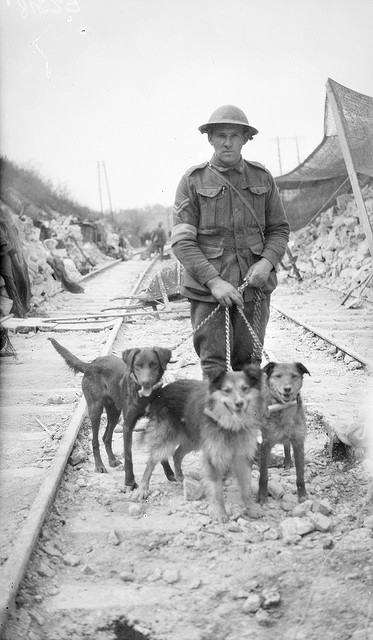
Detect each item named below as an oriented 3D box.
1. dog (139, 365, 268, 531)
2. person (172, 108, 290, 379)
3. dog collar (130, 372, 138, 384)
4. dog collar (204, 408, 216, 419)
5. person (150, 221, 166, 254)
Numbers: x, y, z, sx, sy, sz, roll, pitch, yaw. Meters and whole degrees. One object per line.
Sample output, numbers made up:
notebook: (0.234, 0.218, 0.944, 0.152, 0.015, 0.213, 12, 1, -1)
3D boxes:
dog: (0.061, 0.695, 3.335, 0.430, 0.975, 1.113, -3, 2, -37)
person: (0.278, -0.470, 3.485, 0.739, 1.726, 0.570, -1, 7, 6)
dog collar: (-0.339, 0.366, 3.485, 0.019, 0.058, 0.047, -31, -17, 19)
dog collar: (0.120, 0.512, 3.002, 0.023, 0.047, 0.143, -5, 8, -22)
person: (-1.504, -4.512, 29.297, 0.627, 1.638, 2.503, -2, 8, -5)
